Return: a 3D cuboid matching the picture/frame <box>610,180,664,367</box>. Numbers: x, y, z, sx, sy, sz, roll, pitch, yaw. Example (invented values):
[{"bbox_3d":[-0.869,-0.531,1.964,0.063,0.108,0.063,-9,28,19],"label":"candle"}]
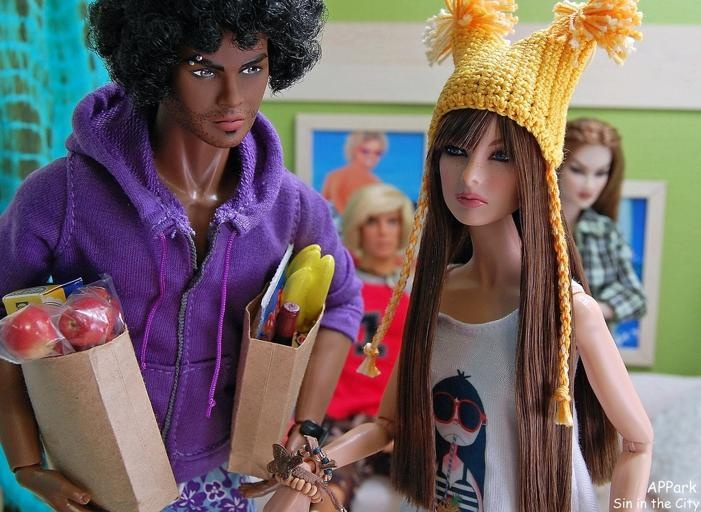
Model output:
[{"bbox_3d":[1.254,0.085,2.883,0.186,0.808,0.111,2,12,6],"label":"picture/frame"}]
